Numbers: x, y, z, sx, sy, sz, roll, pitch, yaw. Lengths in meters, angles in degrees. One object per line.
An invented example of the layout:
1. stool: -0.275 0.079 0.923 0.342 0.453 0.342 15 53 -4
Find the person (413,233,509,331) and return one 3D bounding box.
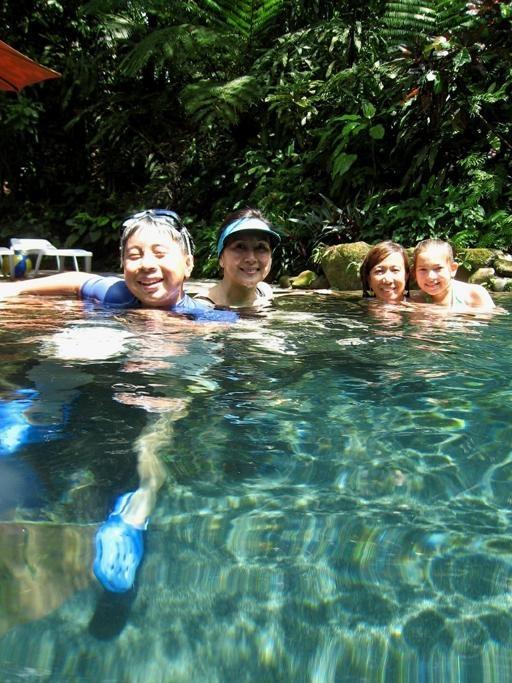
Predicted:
1. person: 1.339 -0.446 3.770 0.587 0.472 0.960 3 9 13
